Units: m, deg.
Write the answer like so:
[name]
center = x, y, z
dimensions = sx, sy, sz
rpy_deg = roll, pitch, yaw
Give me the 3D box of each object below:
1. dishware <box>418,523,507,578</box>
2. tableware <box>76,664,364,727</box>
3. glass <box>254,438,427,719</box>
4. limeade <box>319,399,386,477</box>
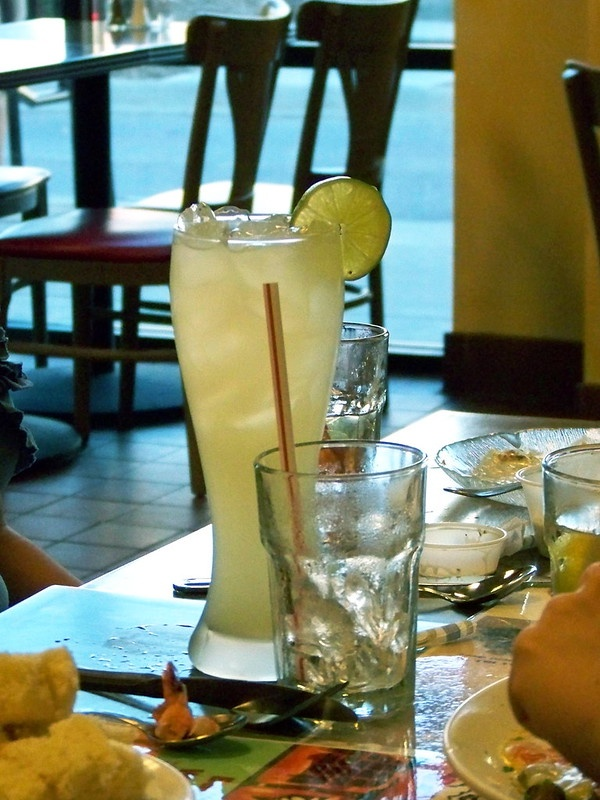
[dishware]
center = 0.111, 0.104, 0.575
dimensions = 0.068, 0.020, 0.060
rpy_deg = 0, 9, 2
[tableware]
center = -0.056, 0.140, 0.411
dimensions = 0.119, 0.020, 0.022
rpy_deg = 20, -47, -39
[glass]
center = 0.015, 0.083, 0.402
dimensions = 0.088, 0.106, 0.076
rpy_deg = -6, 4, 12
[limeade]
center = 0.053, 0.031, 0.624
dimensions = 0.043, 0.050, 0.044
rpy_deg = -1, -11, 34
